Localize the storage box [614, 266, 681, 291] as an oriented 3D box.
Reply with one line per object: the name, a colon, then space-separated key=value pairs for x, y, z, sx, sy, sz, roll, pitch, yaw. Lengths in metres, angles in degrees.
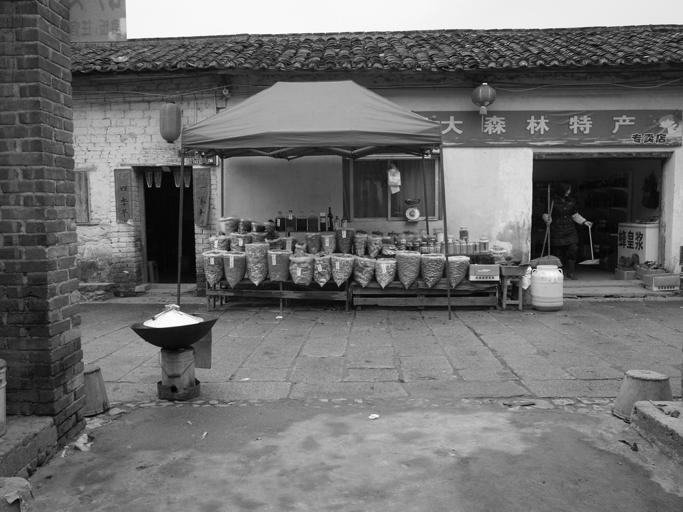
storage box: x=5.647 y=0.387 z=10.723 sx=0.612 sy=0.353 sz=1.081 roll=-5 pitch=11 yaw=-26

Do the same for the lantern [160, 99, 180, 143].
lantern: x=-3.015 y=-2.332 z=10.279 sx=0.385 sy=0.670 sz=0.379 roll=1 pitch=10 yaw=7

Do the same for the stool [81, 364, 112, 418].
stool: x=-2.235 y=1.225 z=5.278 sx=0.359 sy=0.376 sz=0.379 roll=-3 pitch=3 yaw=-17

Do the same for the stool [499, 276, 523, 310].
stool: x=2.741 y=0.588 z=9.334 sx=0.476 sy=0.606 sz=0.461 roll=0 pitch=6 yaw=5

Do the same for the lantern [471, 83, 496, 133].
lantern: x=2.480 y=-2.608 z=10.181 sx=0.395 sy=0.856 sz=0.501 roll=2 pitch=10 yaw=12

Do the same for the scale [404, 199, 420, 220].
scale: x=1.297 y=-0.820 z=10.561 sx=0.305 sy=0.407 sz=0.356 roll=1 pitch=10 yaw=7

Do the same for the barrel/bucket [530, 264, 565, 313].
barrel/bucket: x=3.216 y=0.503 z=9.038 sx=0.669 sy=0.848 sz=0.643 roll=0 pitch=0 yaw=0
